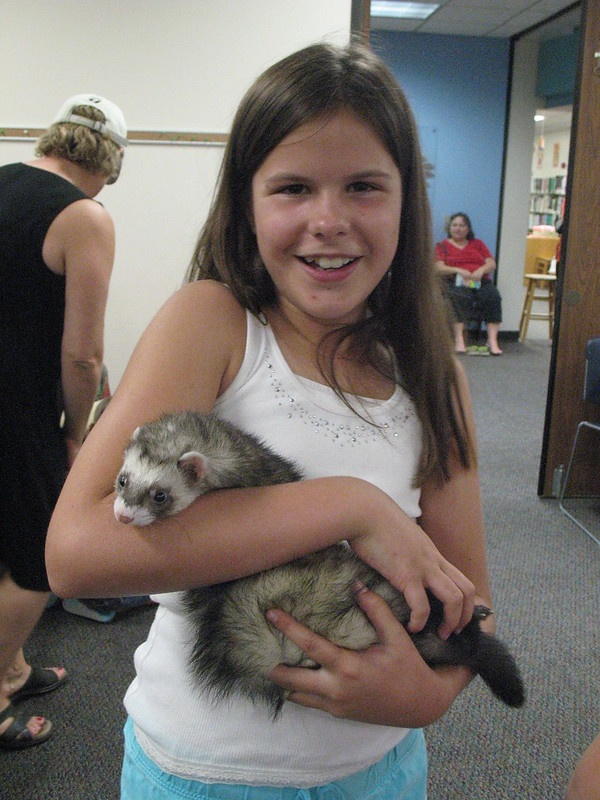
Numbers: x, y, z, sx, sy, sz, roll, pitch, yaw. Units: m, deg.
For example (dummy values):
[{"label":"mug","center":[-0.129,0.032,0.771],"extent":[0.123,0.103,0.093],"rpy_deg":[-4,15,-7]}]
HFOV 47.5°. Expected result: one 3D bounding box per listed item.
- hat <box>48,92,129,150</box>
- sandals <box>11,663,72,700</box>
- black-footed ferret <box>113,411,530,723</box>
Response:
[{"label":"hat","center":[-0.653,-0.857,2.142],"extent":[0.159,0.108,0.216],"rpy_deg":[20,11,1]},{"label":"sandals","center":[-0.780,0.861,2.058],"extent":[0.157,0.053,0.060],"rpy_deg":[-10,15,-38]},{"label":"black-footed ferret","center":[-0.023,0.279,1.009],"extent":[0.659,0.224,0.302],"rpy_deg":[23,62,-16]}]
